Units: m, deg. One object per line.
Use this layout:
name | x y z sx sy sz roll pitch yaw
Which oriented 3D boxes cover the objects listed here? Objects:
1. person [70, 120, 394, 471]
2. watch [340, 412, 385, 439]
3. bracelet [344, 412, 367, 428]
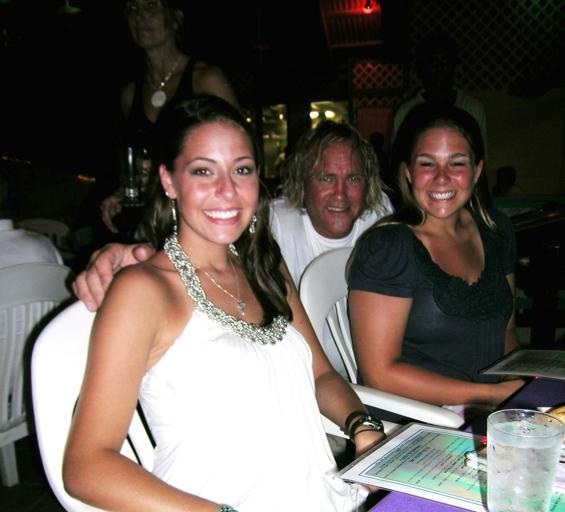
person | -0.064 0.140 1.836 0.901 1.329 0.917 -7 -1 -41
watch | 0.236 0.492 1.483 0.096 0.056 0.071 -27 67 -38
bracelet | 0.219 0.480 1.523 0.014 0.054 0.053 41 48 19
